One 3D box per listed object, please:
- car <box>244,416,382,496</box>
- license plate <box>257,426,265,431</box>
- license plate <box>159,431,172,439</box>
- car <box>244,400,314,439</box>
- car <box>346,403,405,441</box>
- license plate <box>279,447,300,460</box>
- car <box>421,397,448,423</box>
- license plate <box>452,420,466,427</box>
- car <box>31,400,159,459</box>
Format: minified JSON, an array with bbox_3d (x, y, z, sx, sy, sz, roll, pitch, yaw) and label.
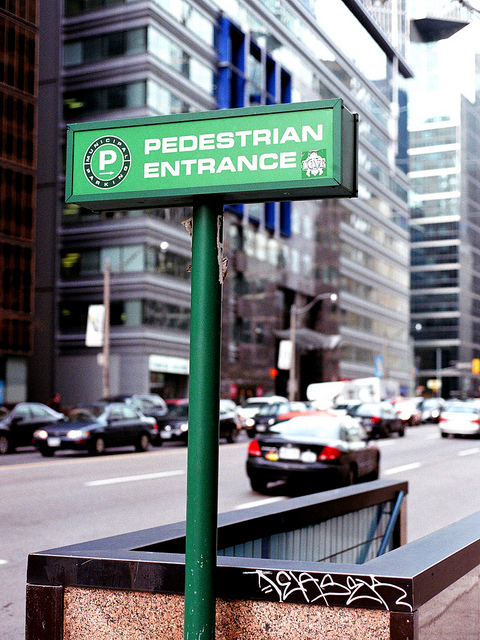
[{"bbox_3d":[0.955,1.730,15.442,1.339,0.945,1.584,0,-3,30],"label":"car"},{"bbox_3d":[0.542,2.946,31.997,0.190,0.124,0.336,1,-2,3],"label":"license plate"},{"bbox_3d":[-1.715,2.626,27.066,0.266,0.206,0.154,-1,3,7],"label":"license plate"},{"bbox_3d":[0.933,2.647,33.335,1.080,0.942,2.599,2,6,31],"label":"car"},{"bbox_3d":[4.029,2.888,34.500,1.323,1.095,2.970,1,-1,28],"label":"car"},{"bbox_3d":[0.610,1.682,14.853,0.073,0.146,0.314,3,-3,-43],"label":"license plate"},{"bbox_3d":[8.887,4.108,54.311,1.067,0.922,1.823,-1,6,22],"label":"car"},{"bbox_3d":[6.456,3.061,34.959,0.394,0.204,0.130,1,-2,2],"label":"license plate"},{"bbox_3d":[-2.935,2.200,23.596,1.021,0.861,2.425,-4,-8,22],"label":"car"}]
